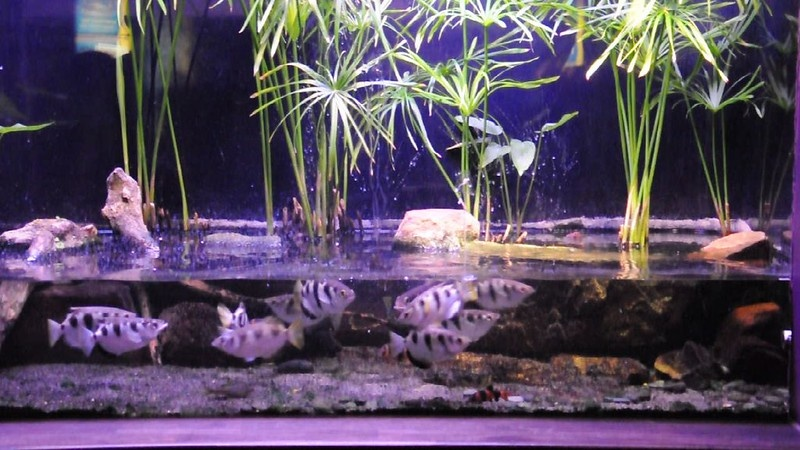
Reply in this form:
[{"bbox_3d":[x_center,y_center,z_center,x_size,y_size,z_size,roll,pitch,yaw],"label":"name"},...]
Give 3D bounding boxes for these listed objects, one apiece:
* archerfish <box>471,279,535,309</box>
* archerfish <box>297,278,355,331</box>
[{"bbox_3d":[0.709,0.511,6.519,0.564,0.279,0.118,-5,19,10],"label":"archerfish"},{"bbox_3d":[-0.554,0.604,6.530,0.418,0.400,0.079,-1,7,-6],"label":"archerfish"}]
